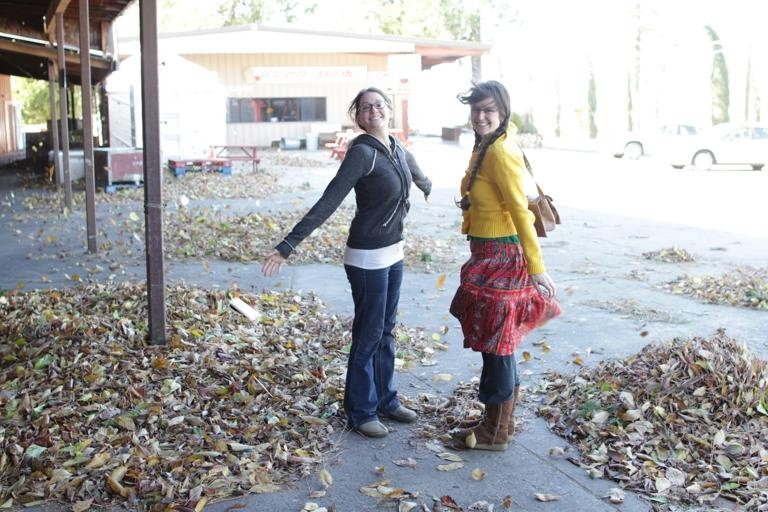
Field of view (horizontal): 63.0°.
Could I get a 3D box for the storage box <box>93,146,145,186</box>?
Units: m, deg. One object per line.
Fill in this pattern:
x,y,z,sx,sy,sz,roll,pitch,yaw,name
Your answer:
-6.175,-2.003,14.193,0.894,0.878,1.379,3,10,3,storage box

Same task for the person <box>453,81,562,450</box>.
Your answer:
0.785,0.079,4.173,0.751,2.448,0.428,6,11,17,person

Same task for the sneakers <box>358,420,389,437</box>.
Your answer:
-0.081,1.203,4.382,0.200,0.076,0.104,-4,-2,25,sneakers

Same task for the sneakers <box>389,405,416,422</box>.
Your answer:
0.128,1.138,4.553,0.192,0.073,0.100,-1,2,22,sneakers

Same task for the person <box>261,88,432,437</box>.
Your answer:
-0.158,0.053,4.301,0.878,2.371,0.403,2,10,-5,person
